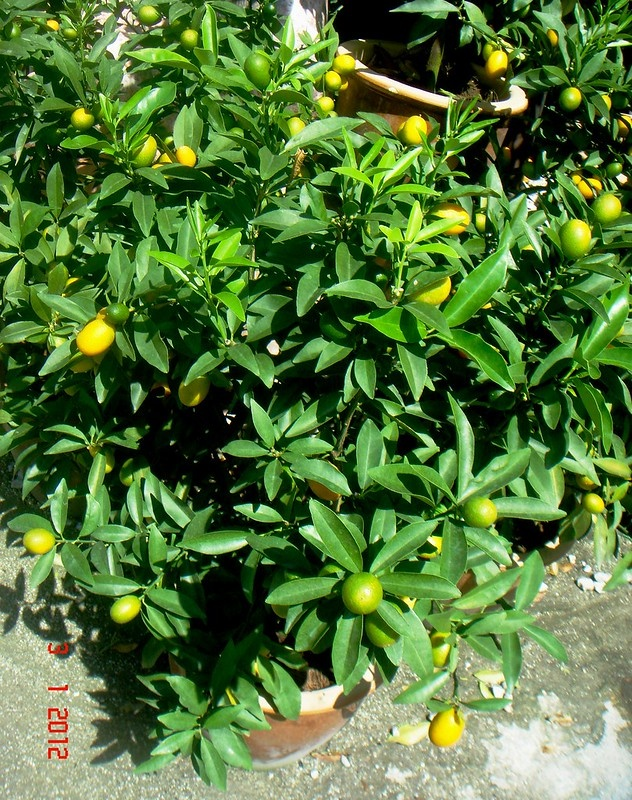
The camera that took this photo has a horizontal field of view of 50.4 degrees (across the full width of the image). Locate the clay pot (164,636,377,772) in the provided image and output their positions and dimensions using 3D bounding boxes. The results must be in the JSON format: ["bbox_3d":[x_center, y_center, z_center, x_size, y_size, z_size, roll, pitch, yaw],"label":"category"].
[{"bbox_3d":[-0.092,0.816,1.834,0.487,0.309,0.437,15,35,-10],"label":"clay pot"}]

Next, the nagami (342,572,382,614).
[{"bbox_3d":[0.071,0.296,1.026,0.054,0.048,0.051,32,49,12],"label":"nagami"}]

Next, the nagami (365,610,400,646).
[{"bbox_3d":[0.108,0.379,1.110,0.059,0.067,0.035,10,18,0],"label":"nagami"}]

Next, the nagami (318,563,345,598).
[{"bbox_3d":[0.027,0.316,1.183,0.041,0.036,0.043,-6,35,-9],"label":"nagami"}]
